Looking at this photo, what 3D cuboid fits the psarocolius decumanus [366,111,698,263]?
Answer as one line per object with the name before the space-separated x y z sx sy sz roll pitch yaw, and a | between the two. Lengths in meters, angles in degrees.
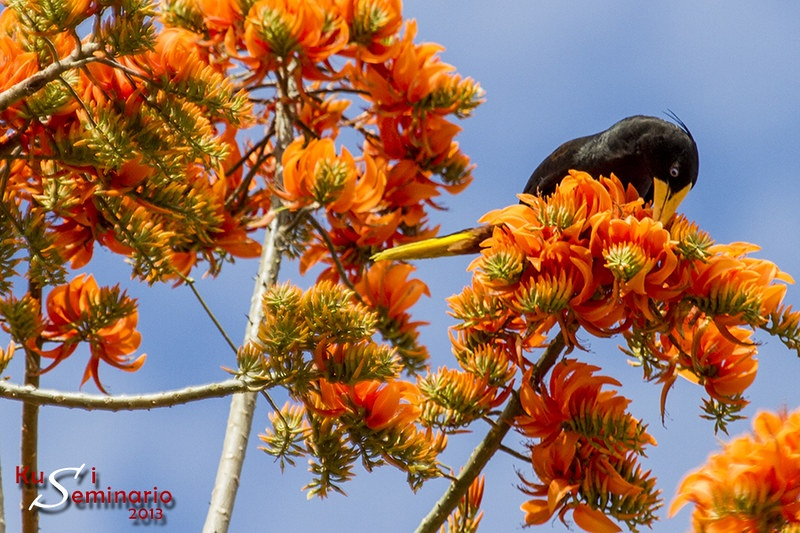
psarocolius decumanus | 0.449 -0.199 5.846 0.373 0.522 1.095 25 -9 -34
